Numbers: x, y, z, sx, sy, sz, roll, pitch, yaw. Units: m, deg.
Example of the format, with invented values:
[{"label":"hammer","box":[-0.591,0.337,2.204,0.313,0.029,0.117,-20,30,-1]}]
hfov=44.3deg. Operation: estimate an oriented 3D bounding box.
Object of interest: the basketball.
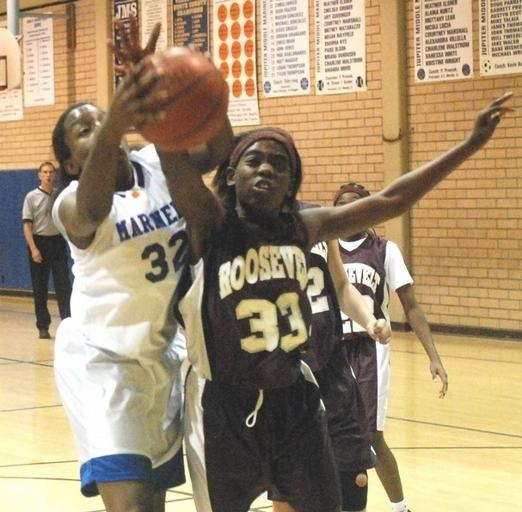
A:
[{"label":"basketball","box":[-0.137,-0.306,1.328,0.171,0.248,0.190,-5,14,0]}]

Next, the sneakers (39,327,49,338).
[{"label":"sneakers","box":[-2.566,0.905,7.543,0.128,0.157,0.088,-1,1,8]}]
